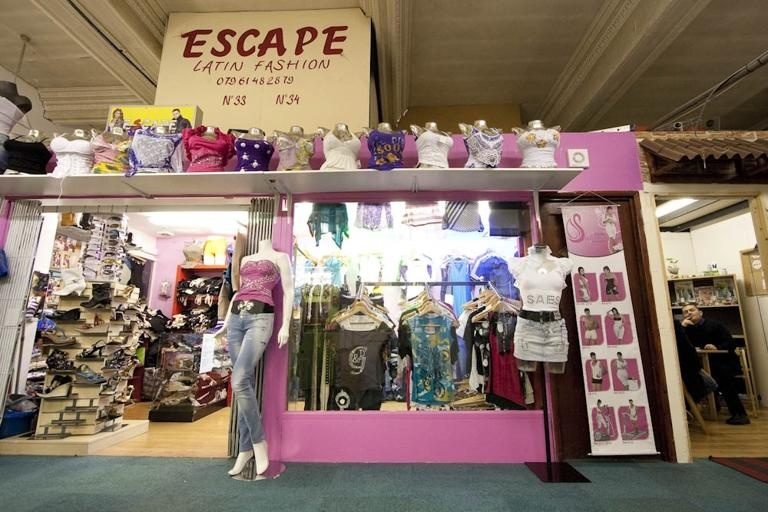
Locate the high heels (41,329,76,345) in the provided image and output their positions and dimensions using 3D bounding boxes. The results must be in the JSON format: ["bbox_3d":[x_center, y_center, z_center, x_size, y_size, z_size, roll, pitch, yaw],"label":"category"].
[{"bbox_3d":[-4.111,1.033,5.841,0.472,0.192,0.181,1,-2,-4],"label":"high heels"}]

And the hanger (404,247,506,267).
[{"bbox_3d":[0.861,0.003,5.389,1.157,0.189,0.042,0,3,2],"label":"hanger"}]

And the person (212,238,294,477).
[{"bbox_3d":[-1.410,1.044,4.952,0.681,2.422,0.756,2,4,32],"label":"person"}]

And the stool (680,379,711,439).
[{"bbox_3d":[4.311,2.078,6.270,0.280,0.668,0.992,2,5,35],"label":"stool"}]

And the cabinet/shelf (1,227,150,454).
[{"bbox_3d":[-3.874,0.894,5.948,1.356,2.787,1.812,-1,4,-18],"label":"cabinet/shelf"}]

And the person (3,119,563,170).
[{"bbox_3d":[-1.219,-1.299,5.360,3.709,0.483,0.146,0,11,6],"label":"person"}]

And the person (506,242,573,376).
[{"bbox_3d":[1.691,0.566,4.958,0.656,1.359,0.365,1,3,17],"label":"person"}]

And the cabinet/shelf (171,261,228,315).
[{"bbox_3d":[-3.138,0.549,7.822,1.043,1.009,0.569,2,-7,-11],"label":"cabinet/shelf"}]

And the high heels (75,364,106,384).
[{"bbox_3d":[-3.620,1.464,5.641,0.338,0.142,0.181,3,0,17],"label":"high heels"}]

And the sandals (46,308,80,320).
[{"bbox_3d":[-4.177,0.747,5.927,0.531,0.159,0.185,3,5,30],"label":"sandals"}]
